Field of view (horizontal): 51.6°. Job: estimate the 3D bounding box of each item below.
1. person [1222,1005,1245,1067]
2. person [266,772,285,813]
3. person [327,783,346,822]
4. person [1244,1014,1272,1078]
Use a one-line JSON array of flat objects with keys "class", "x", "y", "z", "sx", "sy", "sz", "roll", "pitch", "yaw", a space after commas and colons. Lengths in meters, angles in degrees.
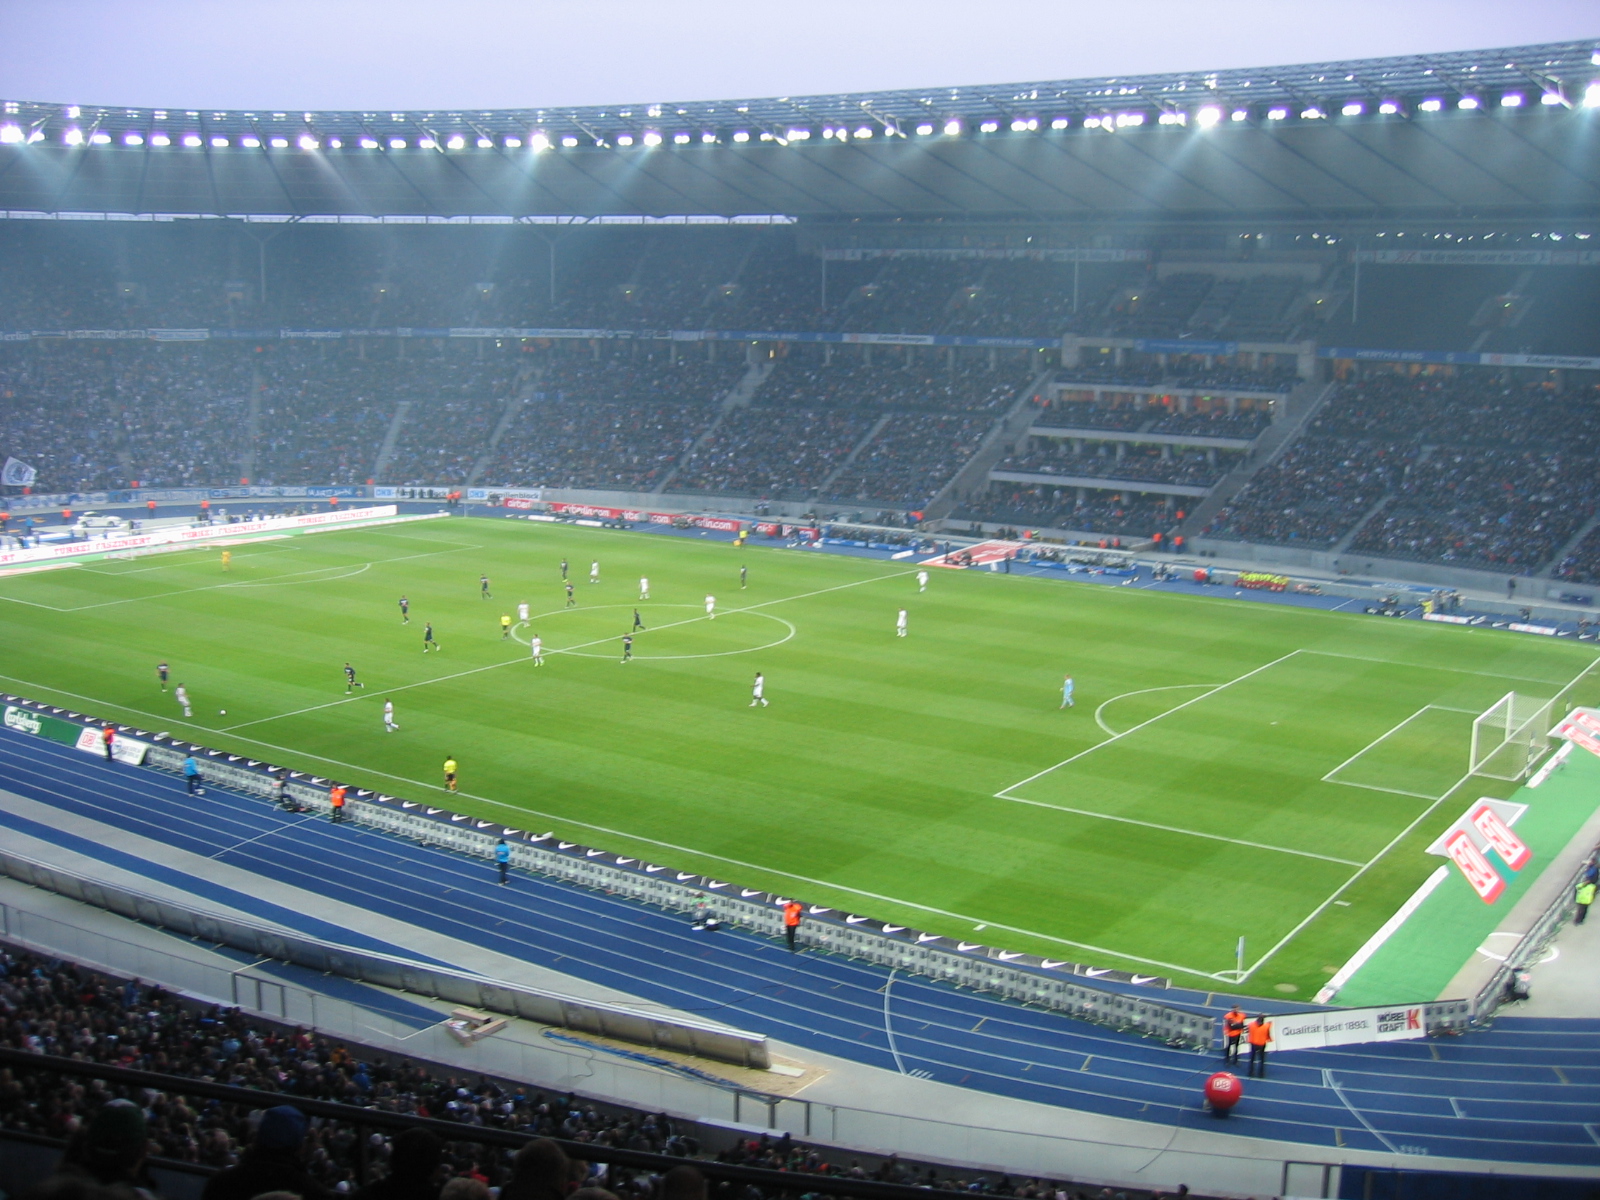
[{"class": "person", "x": 9.028, "y": 9.072, "z": 34.401, "sx": 0.456, "sy": 1.201, "sz": 1.219, "roll": 7, "pitch": -15, "yaw": 16}, {"class": "person", "x": -14.830, "y": 5.383, "z": 46.968, "sx": 0.250, "sy": 0.787, "sz": 0.974, "roll": 12, "pitch": -23, "yaw": -42}, {"class": "person", "x": -12.795, "y": 5.604, "z": 45.761, "sx": 0.553, "sy": 0.985, "sz": 0.896, "roll": 15, "pitch": -16, "yaw": -14}, {"class": "person", "x": 9.482, "y": 9.143, "z": 34.167, "sx": 0.491, "sy": 1.224, "sz": 1.307, "roll": 7, "pitch": -15, "yaw": 17}]
